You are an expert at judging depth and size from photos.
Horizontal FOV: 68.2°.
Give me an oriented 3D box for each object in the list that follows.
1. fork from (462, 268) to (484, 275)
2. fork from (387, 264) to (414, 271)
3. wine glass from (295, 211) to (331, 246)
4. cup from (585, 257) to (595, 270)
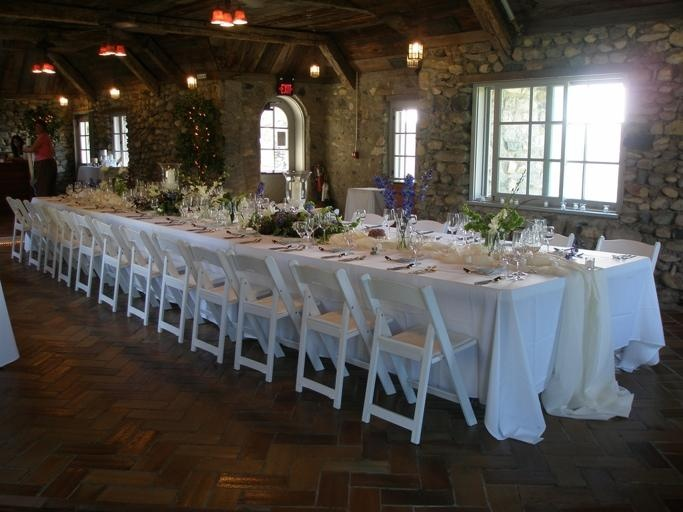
[{"bbox_3d":[0.851,0.103,3.305,0.033,0.026,0.164,-19,11,-18],"label":"fork"},{"bbox_3d":[0.406,0.081,3.451,0.064,0.016,0.197,13,14,38],"label":"fork"},{"bbox_3d":[-0.220,-0.239,4.262,0.299,0.291,0.263,2,6,25],"label":"wine glass"},{"bbox_3d":[1.663,0.053,3.384,0.069,0.107,0.068,-2,17,1],"label":"cup"}]
